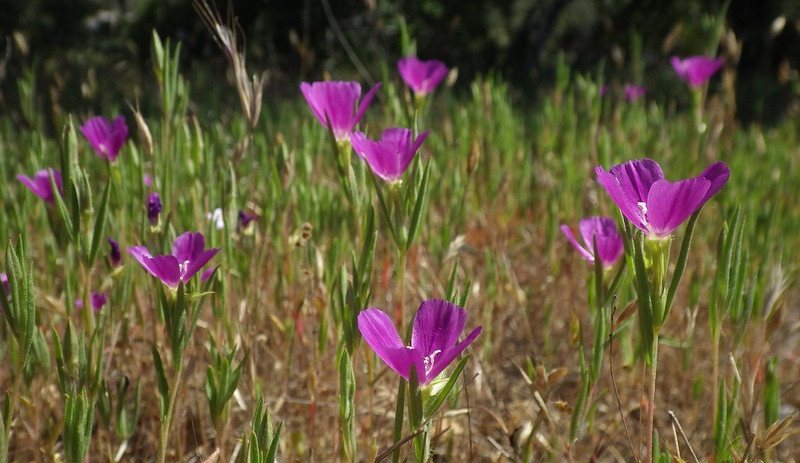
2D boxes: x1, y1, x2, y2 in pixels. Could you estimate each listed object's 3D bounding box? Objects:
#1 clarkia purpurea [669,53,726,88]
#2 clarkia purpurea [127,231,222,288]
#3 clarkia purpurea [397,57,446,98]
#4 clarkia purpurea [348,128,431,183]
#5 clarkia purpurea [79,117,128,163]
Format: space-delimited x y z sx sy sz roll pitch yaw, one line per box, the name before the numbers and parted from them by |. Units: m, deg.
clarkia purpurea | 1.664 -0.899 4.756 0.310 0.195 0.380 -7 13 -11
clarkia purpurea | -1.079 0.135 4.017 0.284 0.191 0.305 -13 23 -27
clarkia purpurea | 0.129 -0.823 4.602 0.201 0.138 0.209 9 5 -22
clarkia purpurea | -0.038 -0.348 4.182 0.354 0.280 0.358 -6 3 -38
clarkia purpurea | -1.461 -0.512 4.273 0.185 0.234 0.226 -3 20 2
